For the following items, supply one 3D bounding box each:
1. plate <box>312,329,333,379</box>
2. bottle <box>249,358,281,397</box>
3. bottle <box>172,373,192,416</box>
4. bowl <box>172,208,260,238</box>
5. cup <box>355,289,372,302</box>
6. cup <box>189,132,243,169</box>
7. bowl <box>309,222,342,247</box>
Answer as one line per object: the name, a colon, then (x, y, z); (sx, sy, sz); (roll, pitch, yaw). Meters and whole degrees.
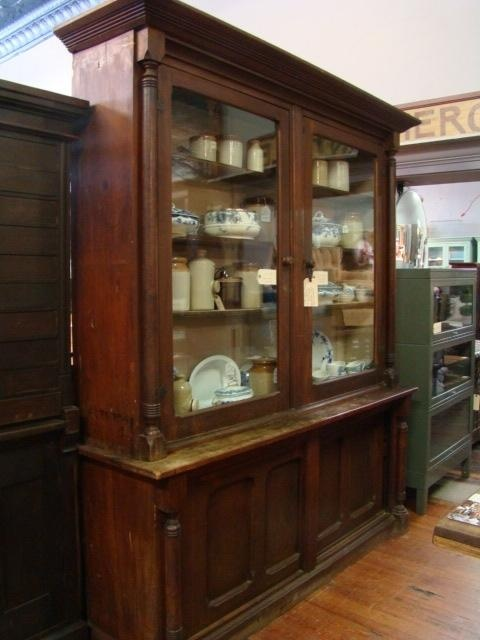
plate: (0.306, 0.134, 2.027); (0.032, 0.154, 0.140); (3, -2, 35)
bottle: (0.076, 0.189, 1.770); (0.089, 0.126, 0.123); (3, 5, 20)
bottle: (-0.155, 0.203, 1.476); (0.027, 0.111, 0.094); (1, 2, 14)
bowl: (-0.065, -0.273, 1.575); (0.191, 0.045, 0.111); (-2, 1, -42)
cup: (0.520, -0.101, 2.284); (0.063, 0.046, 0.062); (-1, -3, 0)
cup: (-0.061, -0.493, 1.571); (0.135, 0.129, 0.076); (5, 12, 26)
bowl: (0.326, -0.310, 2.031); (0.109, 0.067, 0.109); (-2, 5, 0)
